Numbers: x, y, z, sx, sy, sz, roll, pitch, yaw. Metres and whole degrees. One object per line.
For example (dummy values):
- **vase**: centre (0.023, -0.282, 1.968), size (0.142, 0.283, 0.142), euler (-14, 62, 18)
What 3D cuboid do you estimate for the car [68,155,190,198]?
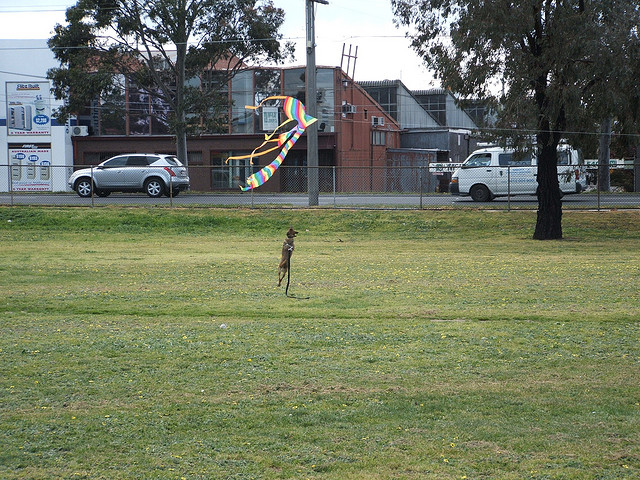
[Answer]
- **car**: centre (-7.689, -2.675, 54.109), size (4.832, 1.725, 1.831), euler (0, 1, 4)
